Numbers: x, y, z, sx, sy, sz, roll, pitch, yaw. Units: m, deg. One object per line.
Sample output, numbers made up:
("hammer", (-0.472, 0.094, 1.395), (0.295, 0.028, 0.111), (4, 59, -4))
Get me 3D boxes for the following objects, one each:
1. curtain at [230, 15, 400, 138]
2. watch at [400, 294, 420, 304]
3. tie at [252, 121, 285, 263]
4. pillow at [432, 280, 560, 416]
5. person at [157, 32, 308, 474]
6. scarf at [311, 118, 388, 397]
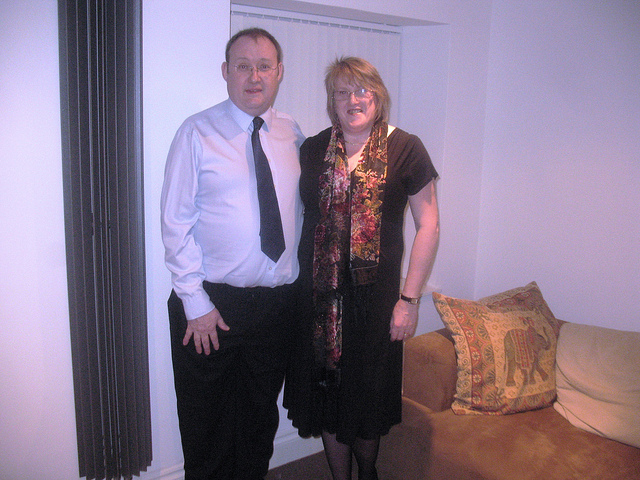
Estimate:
("curtain", (-0.069, -0.875, 2.957), (0.742, 0.724, 0.087), (-4, 14, -23))
("watch", (0.418, 0.277, 2.647), (0.082, 0.054, 0.045), (0, 9, 5))
("tie", (-0.244, -0.229, 2.569), (0.119, 0.636, 0.137), (-3, 8, -15))
("pillow", (0.916, 0.545, 3.053), (0.565, 0.671, 0.545), (-2, 14, -12))
("person", (-0.384, 0.136, 2.673), (0.698, 2.186, 0.330), (-3, 8, -16))
("scarf", (0.136, 0.087, 2.675), (0.368, 1.304, 0.220), (0, 8, 7))
